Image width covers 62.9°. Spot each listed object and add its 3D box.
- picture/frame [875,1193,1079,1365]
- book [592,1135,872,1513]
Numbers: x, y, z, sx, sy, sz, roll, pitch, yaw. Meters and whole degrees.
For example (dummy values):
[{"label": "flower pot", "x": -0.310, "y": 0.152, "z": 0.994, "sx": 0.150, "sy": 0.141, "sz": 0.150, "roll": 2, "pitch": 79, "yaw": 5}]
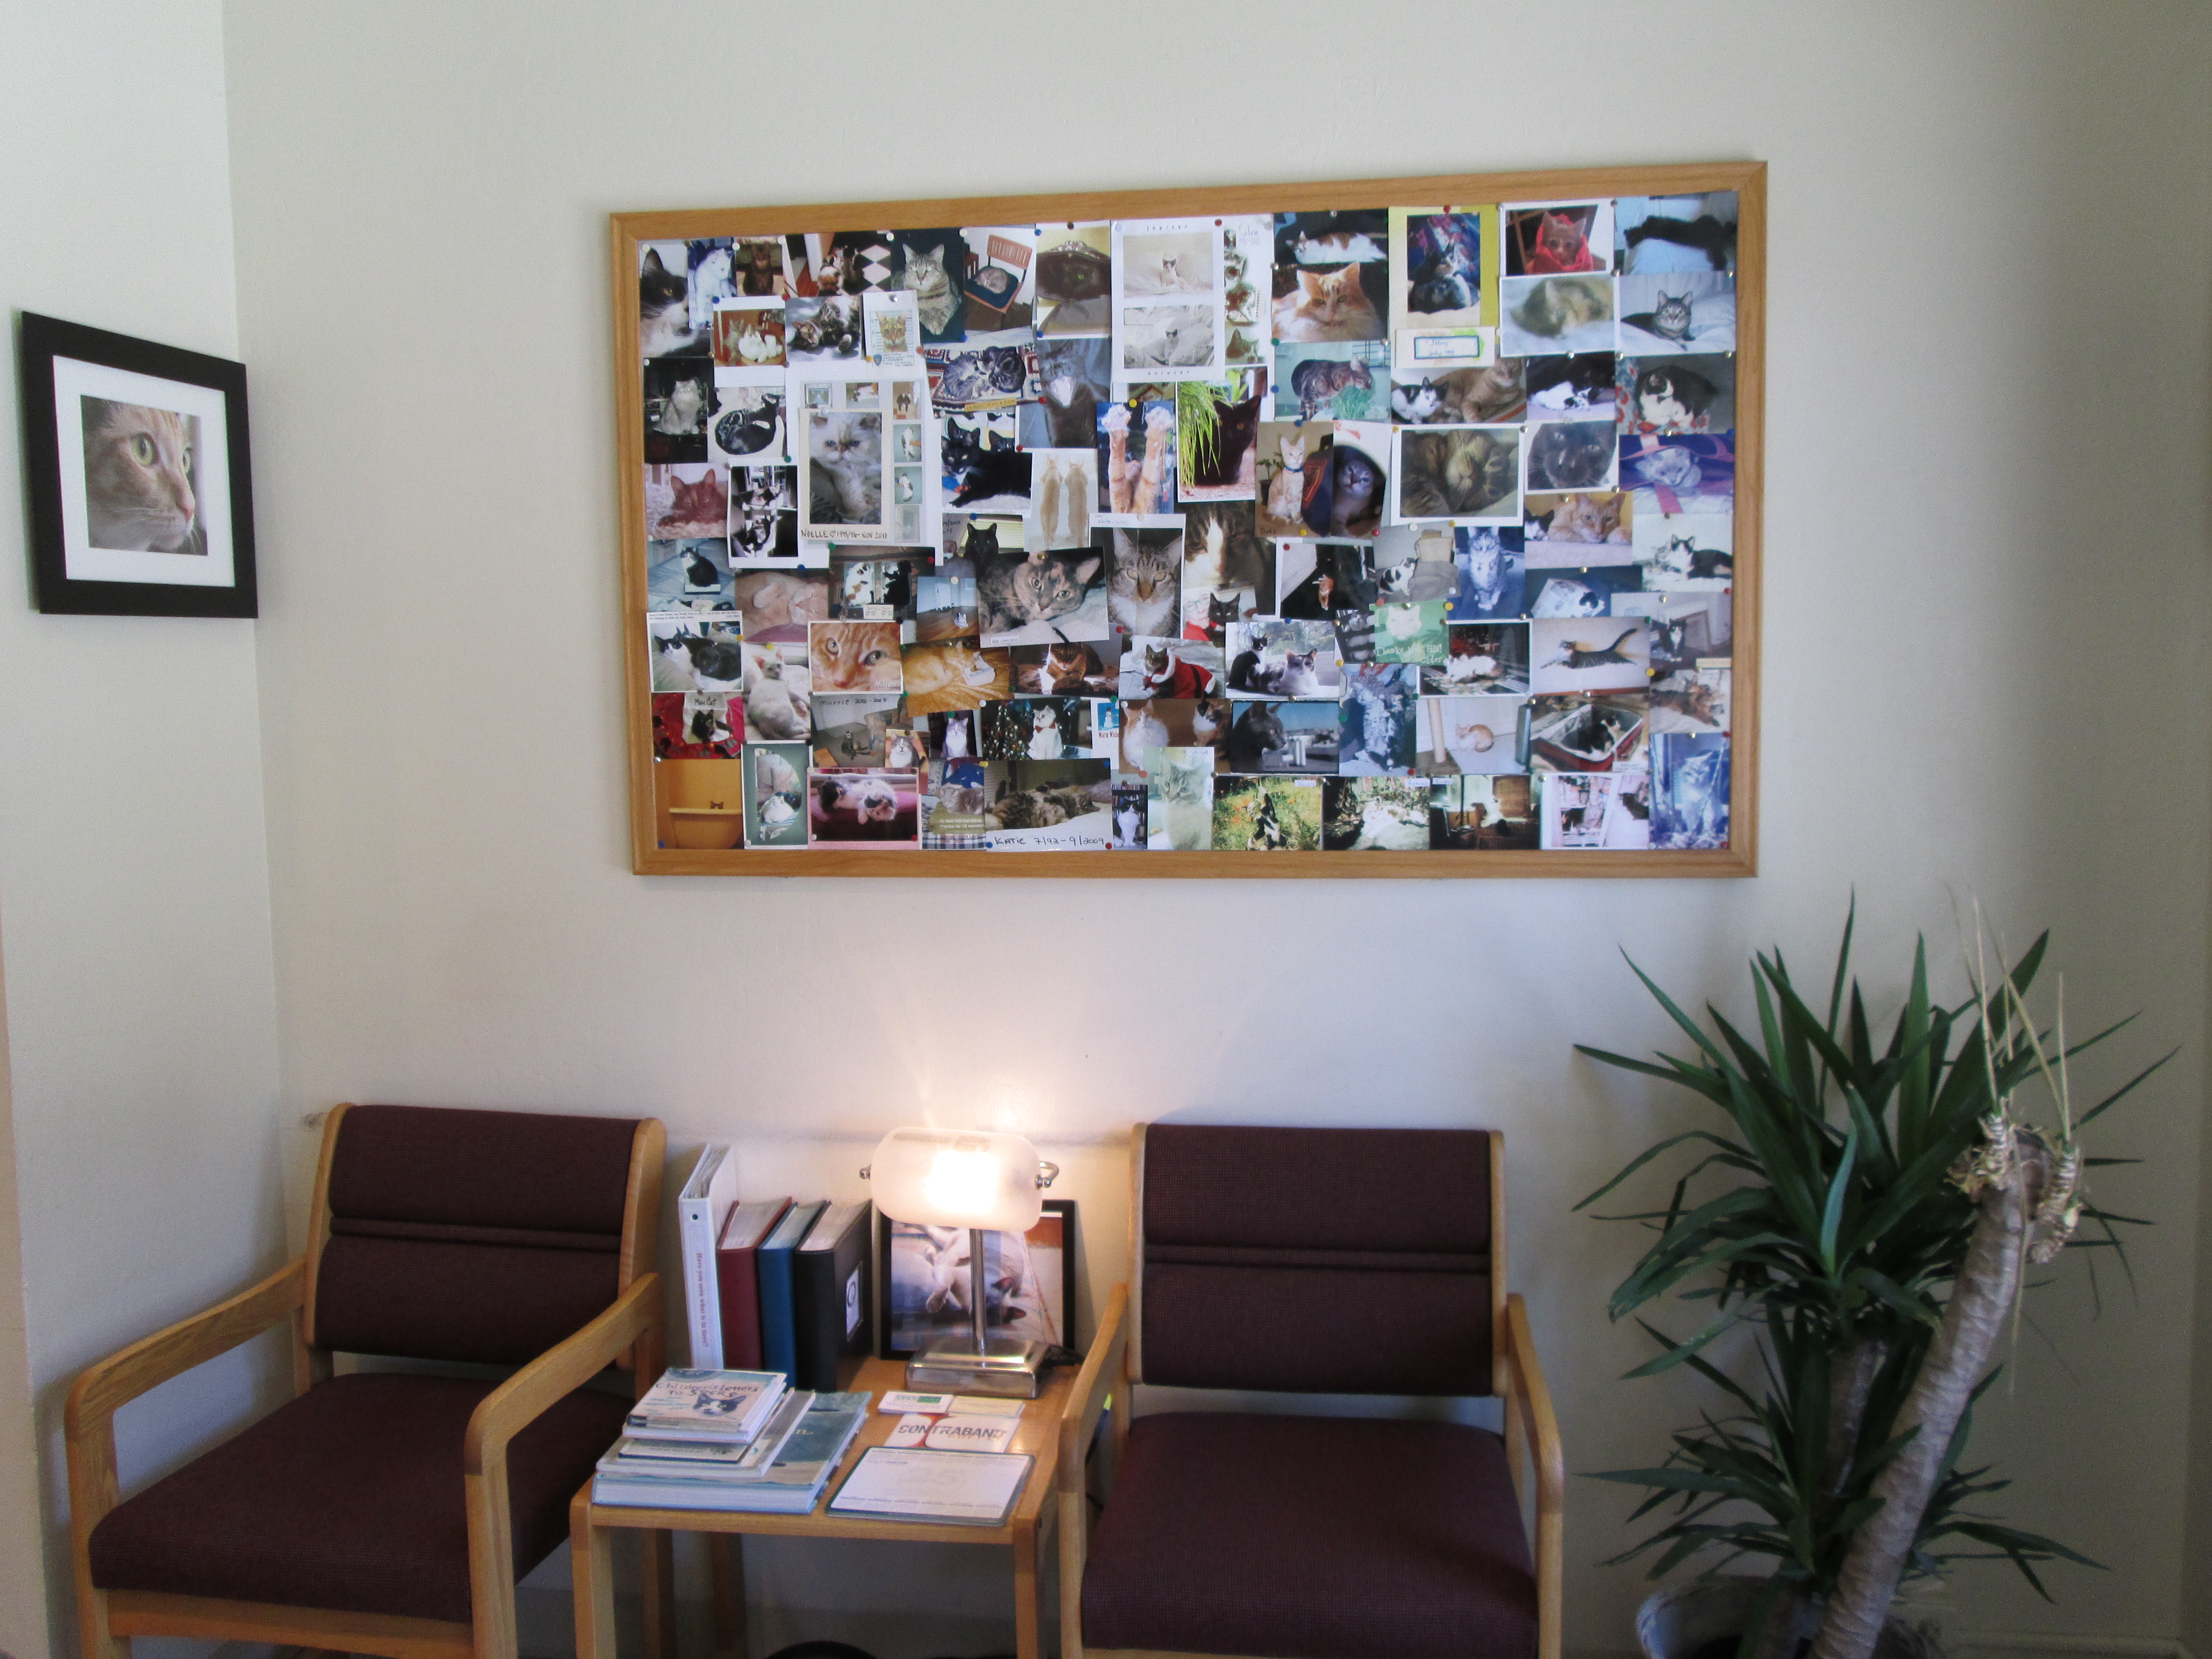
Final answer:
[{"label": "picture/frame", "x": -0.267, "y": 0.896, "z": 3.594, "sx": 0.323, "sy": 0.267, "sz": 0.046, "roll": -1, "pitch": -9, "yaw": 3}, {"label": "book", "x": -0.678, "y": 0.912, "z": 3.359, "sx": 0.172, "sy": 0.580, "sz": 0.404, "roll": 10, "pitch": 1, "yaw": -1}]
